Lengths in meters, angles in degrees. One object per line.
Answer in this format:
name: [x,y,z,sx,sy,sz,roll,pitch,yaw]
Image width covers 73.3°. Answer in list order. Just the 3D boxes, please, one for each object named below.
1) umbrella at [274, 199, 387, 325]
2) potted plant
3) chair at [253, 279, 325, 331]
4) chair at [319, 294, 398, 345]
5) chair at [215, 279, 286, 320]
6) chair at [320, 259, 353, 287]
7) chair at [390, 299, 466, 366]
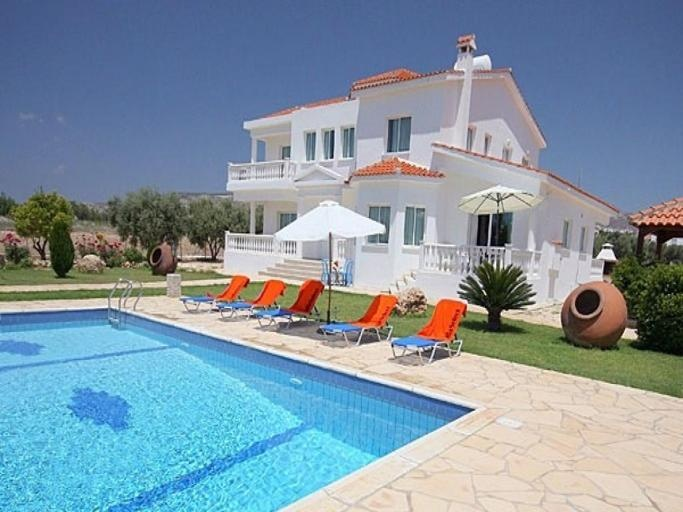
umbrella: [-0.311,-0.482,11.843,2.483,1.610,1.279,-3,14,-4]
potted plant: [4.412,1.219,13.558,1.600,1.941,1.723,-14,18,-14]
chair: [-1.489,1.367,13.085,1.740,1.240,1.067,2,-4,-38]
chair: [0.464,1.643,11.761,1.915,1.236,0.987,2,-1,-37]
chair: [-2.654,1.350,14.284,1.935,1.283,1.190,-2,2,-43]
chair: [-0.160,0.832,20.732,1.087,1.000,1.184,-1,3,-16]
chair: [2.072,1.774,10.686,1.724,1.385,0.869,-1,2,-38]
